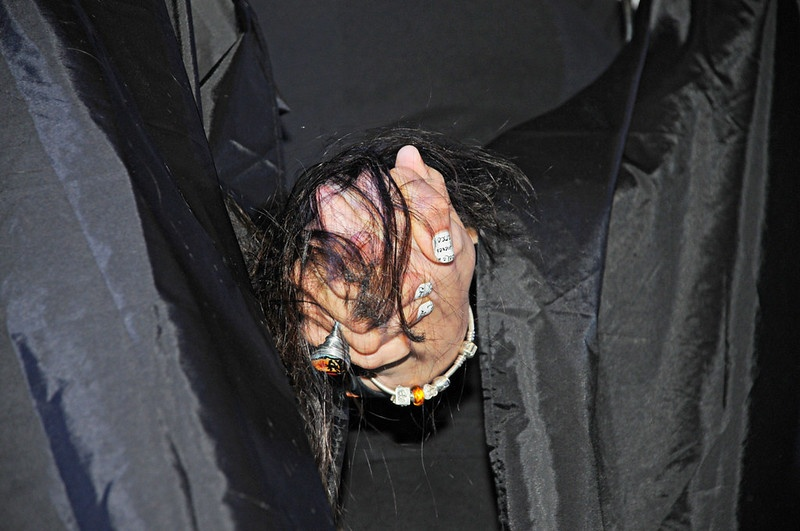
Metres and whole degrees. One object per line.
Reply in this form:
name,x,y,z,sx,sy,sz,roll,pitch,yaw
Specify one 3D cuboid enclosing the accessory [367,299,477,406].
accessory,0.021,0.143,1.767,0.121,0.149,0.024,-2,-49,4
